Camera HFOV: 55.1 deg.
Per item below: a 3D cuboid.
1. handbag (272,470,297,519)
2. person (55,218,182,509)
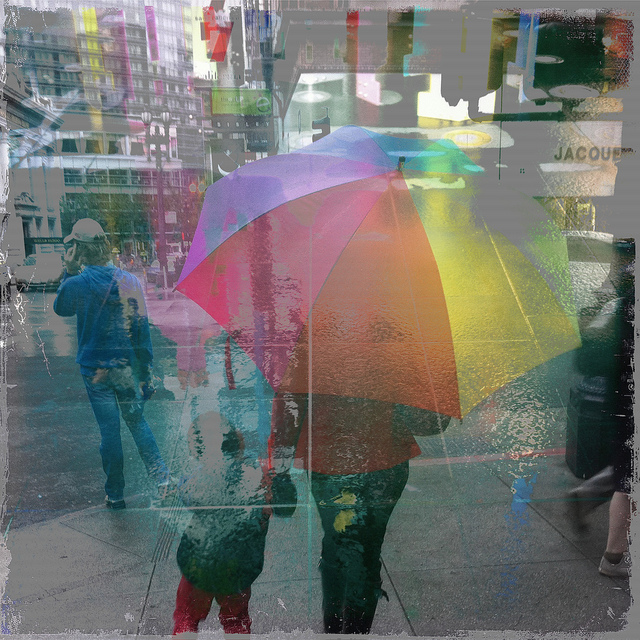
[{"bbox_3d":[-0.283,1.350,4.670,0.089,0.253,0.247,-17,36,23],"label":"handbag"},{"bbox_3d":[-1.620,0.399,4.826,0.662,2.175,0.693,-13,17,-35],"label":"person"}]
